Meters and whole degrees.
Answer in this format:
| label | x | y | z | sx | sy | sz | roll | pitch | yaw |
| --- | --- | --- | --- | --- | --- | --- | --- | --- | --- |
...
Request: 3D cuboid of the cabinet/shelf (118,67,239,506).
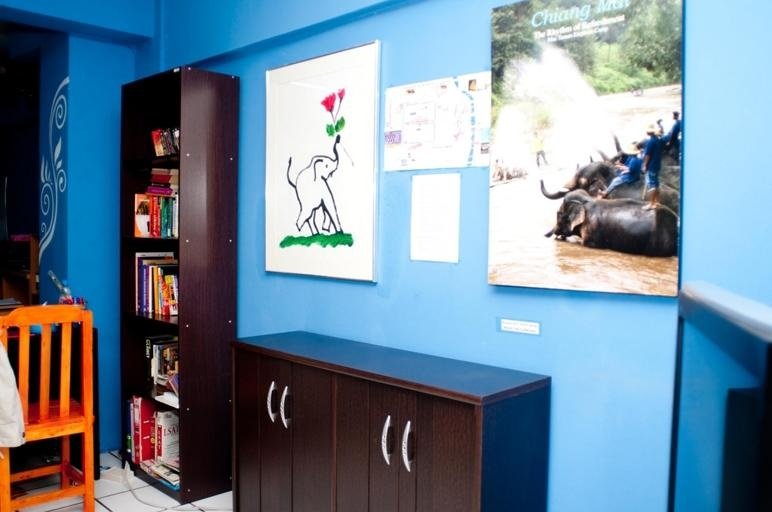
| label | x | y | z | sx | sy | sz | roll | pitch | yaw |
| --- | --- | --- | --- | --- | --- | --- | --- | --- | --- |
| cabinet/shelf | -1.463 | 0.164 | 4.074 | 0.653 | 2.878 | 1.053 | -3 | 6 | -41 |
